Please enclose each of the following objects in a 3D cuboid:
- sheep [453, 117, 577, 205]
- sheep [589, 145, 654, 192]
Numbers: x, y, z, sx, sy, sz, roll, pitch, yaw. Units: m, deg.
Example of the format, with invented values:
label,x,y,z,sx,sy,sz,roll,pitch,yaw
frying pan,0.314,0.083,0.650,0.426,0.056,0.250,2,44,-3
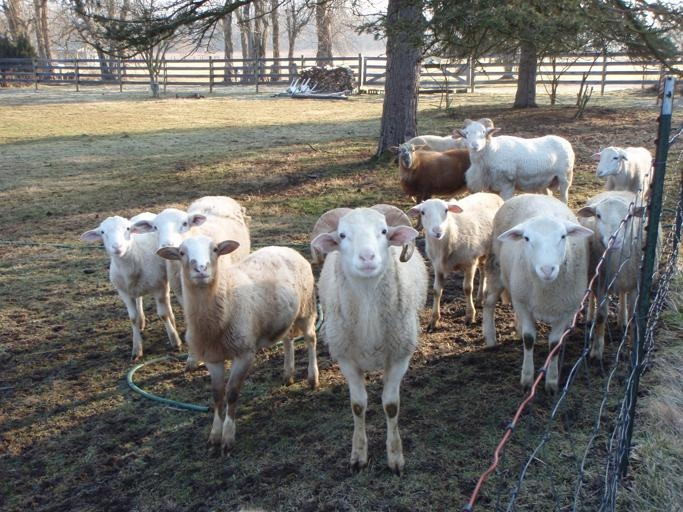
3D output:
label,x,y,z,sx,sy,sz,roll,pitch,yaw
sheep,3.354,-1.615,12.505,2.524,1.853,1.214,-5,10,-22
sheep,4.638,-1.441,10.673,0.565,0.742,1.434,13,22,39
